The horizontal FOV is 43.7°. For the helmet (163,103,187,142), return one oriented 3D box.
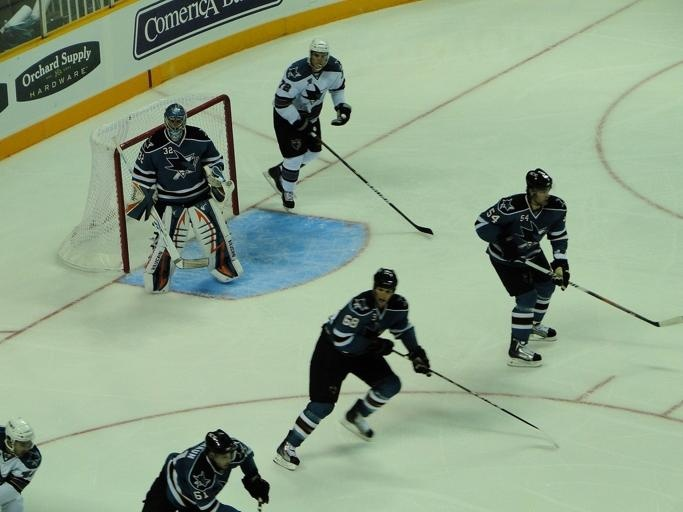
[{"bbox_3d":[-1.369,-1.116,7.023,0.225,0.278,0.286,0,-20,-9],"label":"helmet"}]

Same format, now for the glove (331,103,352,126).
[{"bbox_3d":[0.016,-1.398,8.473,0.266,0.214,0.154,6,4,1],"label":"glove"}]

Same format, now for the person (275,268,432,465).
[{"bbox_3d":[0.082,0.833,5.966,1.047,1.238,0.702,-13,38,-30],"label":"person"}]

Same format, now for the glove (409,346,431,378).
[{"bbox_3d":[0.519,0.694,5.597,0.126,0.198,0.061,-36,6,20],"label":"glove"}]

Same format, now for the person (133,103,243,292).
[{"bbox_3d":[-1.392,-0.476,7.213,0.915,1.590,0.339,-15,24,-6],"label":"person"}]

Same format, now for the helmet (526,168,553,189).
[{"bbox_3d":[1.418,-0.555,6.117,0.165,0.131,0.266,-7,21,11],"label":"helmet"}]

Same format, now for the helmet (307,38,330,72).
[{"bbox_3d":[-0.220,-1.853,7.849,0.208,0.273,0.262,0,31,-4],"label":"helmet"}]

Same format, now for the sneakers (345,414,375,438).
[{"bbox_3d":[0.116,1.166,5.806,0.192,0.121,0.063,33,36,2],"label":"sneakers"}]

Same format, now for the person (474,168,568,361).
[{"bbox_3d":[1.420,0.060,6.369,0.660,1.453,0.540,-15,24,-3],"label":"person"}]

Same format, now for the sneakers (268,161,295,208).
[{"bbox_3d":[-0.587,-0.693,8.367,0.155,0.467,0.202,-31,2,-28],"label":"sneakers"}]

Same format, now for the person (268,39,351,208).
[{"bbox_3d":[-0.318,-1.282,8.235,0.849,1.565,0.555,-12,24,3],"label":"person"}]

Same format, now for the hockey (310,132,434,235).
[{"bbox_3d":[0.303,-0.694,8.557,0.226,1.439,0.115,-38,-19,-8],"label":"hockey"}]

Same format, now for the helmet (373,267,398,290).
[{"bbox_3d":[0.274,0.147,5.319,0.131,0.120,0.144,5,-19,-12],"label":"helmet"}]

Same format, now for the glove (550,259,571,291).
[{"bbox_3d":[1.634,0.129,6.348,0.152,0.094,0.231,20,39,-16],"label":"glove"}]

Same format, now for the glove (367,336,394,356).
[{"bbox_3d":[0.254,0.590,5.469,0.229,0.122,0.131,9,-12,-26],"label":"glove"}]

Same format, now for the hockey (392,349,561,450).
[{"bbox_3d":[0.960,1.050,6.042,1.601,0.074,0.210,20,40,19],"label":"hockey"}]
